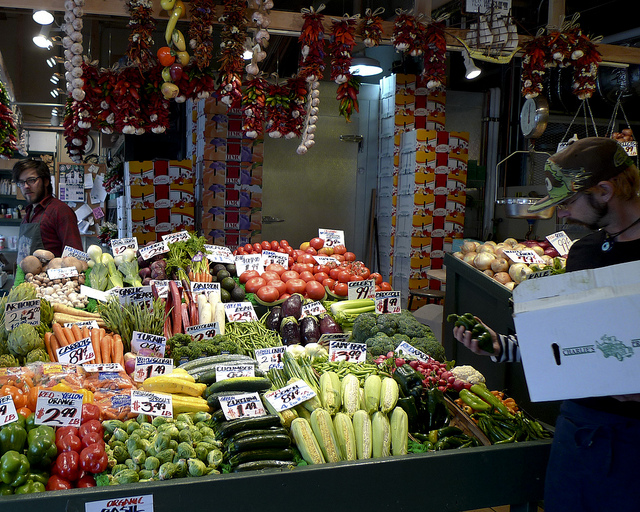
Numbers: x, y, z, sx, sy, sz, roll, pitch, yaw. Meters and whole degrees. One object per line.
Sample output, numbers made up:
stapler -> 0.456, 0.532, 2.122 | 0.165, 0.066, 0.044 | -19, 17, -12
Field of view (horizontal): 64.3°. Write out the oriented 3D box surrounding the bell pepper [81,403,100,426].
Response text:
bell pepper -> -1.009, 0.704, 2.245 | 0.070, 0.069, 0.070 | -3, -1, -16

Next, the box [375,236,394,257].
box -> 1.040, -0.156, 8.010 | 0.236, 0.458, 0.444 | 1, -2, -21

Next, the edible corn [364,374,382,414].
edible corn -> 0.266, 0.693, 2.575 | 0.057, 0.063, 0.182 | -1, 31, 5

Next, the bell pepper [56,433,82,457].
bell pepper -> -1.025, 0.779, 2.085 | 0.078, 0.080, 0.077 | -32, -21, 9

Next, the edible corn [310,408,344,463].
edible corn -> 0.028, 0.828, 2.382 | 0.081, 0.260, 0.067 | -9, -35, -12

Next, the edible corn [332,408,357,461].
edible corn -> 0.121, 0.833, 2.347 | 0.063, 0.055, 0.206 | -4, 49, -7

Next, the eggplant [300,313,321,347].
eggplant -> -0.071, 0.489, 3.297 | 0.120, 0.118, 0.243 | -3, 35, -7

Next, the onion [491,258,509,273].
onion -> 1.429, 0.080, 4.041 | 0.103, 0.107, 0.105 | 3, 4, 36

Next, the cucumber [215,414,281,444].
cucumber -> -0.341, 0.788, 2.331 | 0.316, 0.088, 0.087 | -8, 4, -15

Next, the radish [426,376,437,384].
radish -> 0.588, 0.669, 2.699 | 0.064, 0.036, 0.032 | -6, 8, -28

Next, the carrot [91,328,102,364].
carrot -> -1.270, 0.510, 2.896 | 0.053, 0.284, 0.049 | -3, -39, -20

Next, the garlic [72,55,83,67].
garlic -> -1.688, -1.365, 3.543 | 0.053, 0.057, 0.071 | 1, 7, -16

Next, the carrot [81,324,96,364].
carrot -> -1.321, 0.477, 2.916 | 0.072, 0.286, 0.075 | 1, -6, -11

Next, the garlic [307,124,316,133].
garlic -> -0.064, -1.035, 4.115 | 0.043, 0.062, 0.062 | 4, -13, 14

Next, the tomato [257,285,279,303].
tomato -> -0.360, 0.271, 3.585 | 0.107, 0.109, 0.113 | 3, -3, 4

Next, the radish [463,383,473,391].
radish -> 0.795, 0.716, 2.762 | 0.039, 0.041, 0.040 | 0, 8, 15

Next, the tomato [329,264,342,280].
tomato -> 0.124, 0.132, 3.841 | 0.070, 0.090, 0.073 | 3, -9, 0

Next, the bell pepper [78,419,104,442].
bell pepper -> -0.971, 0.747, 2.167 | 0.071, 0.078, 0.078 | -1, 2, 10

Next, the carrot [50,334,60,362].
carrot -> -1.496, 0.506, 2.871 | 0.041, 0.196, 0.050 | -8, -10, -4

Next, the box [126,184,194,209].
box -> -1.851, -0.695, 5.946 | 0.695, 0.282, 0.168 | -3, 7, -8

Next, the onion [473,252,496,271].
onion -> 1.345, 0.052, 4.161 | 0.116, 0.096, 0.149 | 2, 5, -3

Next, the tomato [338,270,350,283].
tomato -> 0.180, 0.160, 3.845 | 0.074, 0.076, 0.075 | 9, -5, -17

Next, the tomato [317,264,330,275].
tomato -> 0.025, 0.106, 3.910 | 0.064, 0.067, 0.066 | 1, -3, 7

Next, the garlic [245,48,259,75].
garlic -> -0.515, -1.466, 3.850 | 0.084, 0.172, 0.204 | -3, 7, -9

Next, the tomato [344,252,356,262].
tomato -> 0.253, 0.002, 4.231 | 0.077, 0.076, 0.079 | 7, -15, -4

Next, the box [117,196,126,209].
box -> -2.560, -0.694, 6.595 | 0.094, 0.142, 0.557 | -5, 7, -21

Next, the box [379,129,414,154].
box -> 1.049, -1.728, 7.699 | 0.339, 0.365, 0.133 | 0, -14, 20

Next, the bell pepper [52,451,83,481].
bell pepper -> -1.010, 0.856, 2.048 | 0.063, 0.066, 0.073 | 48, -3, -33

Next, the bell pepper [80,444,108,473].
bell pepper -> -0.912, 0.833, 2.059 | 0.101, 0.105, 0.101 | -1, -2, 0

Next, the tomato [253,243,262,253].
tomato -> -0.525, -0.068, 4.193 | 0.057, 0.044, 0.078 | -10, 34, 1

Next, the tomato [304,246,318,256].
tomato -> -0.068, -0.038, 4.248 | 0.069, 0.071, 0.070 | -3, 7, -10

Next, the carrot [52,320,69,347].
carrot -> -1.483, 0.456, 2.915 | 0.030, 0.120, 0.028 | -27, -5, -32

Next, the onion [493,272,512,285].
onion -> 1.426, 0.177, 3.972 | 0.085, 0.111, 0.089 | -1, 0, 19

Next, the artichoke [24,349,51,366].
artichoke -> -1.524, 0.550, 2.751 | 0.110, 0.116, 0.093 | 7, -9, -26

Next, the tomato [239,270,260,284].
tomato -> -0.524, 0.162, 3.749 | 0.101, 0.101, 0.106 | 2, -2, 37

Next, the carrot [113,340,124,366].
carrot -> -1.148, 0.553, 2.902 | 0.034, 0.163, 0.042 | 9, -35, -37

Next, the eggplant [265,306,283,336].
eggplant -> -0.294, 0.442, 3.397 | 0.087, 0.179, 0.089 | 17, -21, -16

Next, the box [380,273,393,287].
box -> 1.048, 0.387, 7.917 | 0.180, 0.194, 0.187 | -5, -8, 34

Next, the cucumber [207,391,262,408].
cucumber -> -0.454, 0.716, 2.508 | 0.196, 0.078, 0.096 | -4, 7, -15

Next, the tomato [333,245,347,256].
tomato -> 0.191, -0.049, 4.337 | 0.113, 0.080, 0.190 | 2, 8, 34

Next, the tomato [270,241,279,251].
tomato -> -0.385, -0.085, 4.278 | 0.056, 0.082, 0.060 | -2, -14, -5

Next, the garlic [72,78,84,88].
garlic -> -1.708, -1.225, 3.600 | 0.060, 0.065, 0.063 | -1, 8, 1

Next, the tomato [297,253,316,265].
tomato -> -0.113, 0.027, 4.053 | 0.097, 0.105, 0.095 | -1, 8, 4

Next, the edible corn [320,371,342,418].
edible corn -> 0.053, 0.742, 2.577 | 0.101, 0.096, 0.316 | -1, 12, -5

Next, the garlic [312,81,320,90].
garlic -> -0.035, -1.328, 3.938 | 0.050, 0.019, 0.051 | -34, -41, 25

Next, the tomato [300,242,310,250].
tomato -> -0.124, -0.069, 4.339 | 0.066, 0.068, 0.068 | 3, 12, -5

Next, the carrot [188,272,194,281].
carrot -> -0.908, 0.150, 3.602 | 0.043, 0.076, 0.048 | -3, 1, -17

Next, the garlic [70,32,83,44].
garlic -> -1.682, -1.530, 3.549 | 0.063, 0.070, 0.082 | -2, 17, 3

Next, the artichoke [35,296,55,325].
artichoke -> -1.693, 0.326, 3.090 | 0.128, 0.186, 0.137 | 1, -9, -13
